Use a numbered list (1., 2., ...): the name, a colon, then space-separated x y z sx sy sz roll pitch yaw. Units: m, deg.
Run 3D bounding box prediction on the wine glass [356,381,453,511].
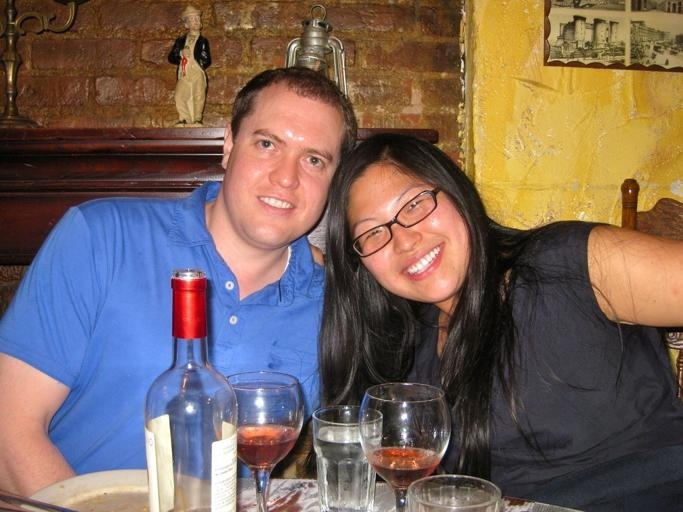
1. wine glass: 0.152 0.463 1.730 0.209 0.234 0.117 -1 0 5
